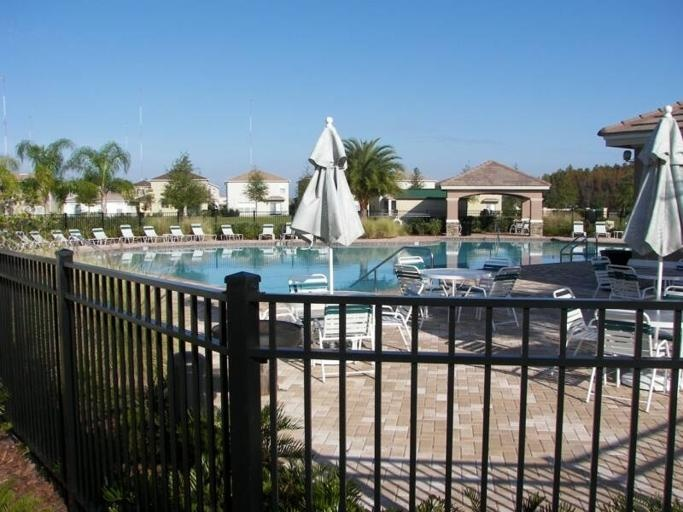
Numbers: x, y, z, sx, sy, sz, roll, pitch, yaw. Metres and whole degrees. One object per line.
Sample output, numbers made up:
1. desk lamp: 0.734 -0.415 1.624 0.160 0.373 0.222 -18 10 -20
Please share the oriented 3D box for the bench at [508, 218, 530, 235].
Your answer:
1. bench: 10.489 -1.716 36.535 1.236 0.799 0.912 2 2 39
